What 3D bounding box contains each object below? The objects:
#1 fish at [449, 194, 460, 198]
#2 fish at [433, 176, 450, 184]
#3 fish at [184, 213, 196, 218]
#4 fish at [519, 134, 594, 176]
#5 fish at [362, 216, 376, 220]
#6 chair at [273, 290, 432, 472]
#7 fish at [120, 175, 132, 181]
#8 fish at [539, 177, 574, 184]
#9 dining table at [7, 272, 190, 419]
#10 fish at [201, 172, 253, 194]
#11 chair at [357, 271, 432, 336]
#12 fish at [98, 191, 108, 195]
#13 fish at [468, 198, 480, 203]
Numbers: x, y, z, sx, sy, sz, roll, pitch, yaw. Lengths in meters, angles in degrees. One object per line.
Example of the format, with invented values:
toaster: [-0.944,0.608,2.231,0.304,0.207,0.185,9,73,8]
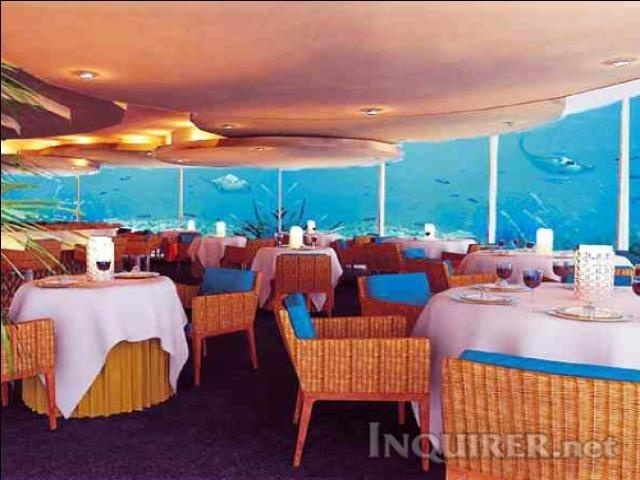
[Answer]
fish: [3.266,-1.058,12.227,0.036,0.077,0.241,-5,7,-44]
fish: [2.909,-1.453,12.447,0.106,0.206,0.531,-2,13,-42]
fish: [-3.998,-0.735,15.371,0.375,0.139,0.091,2,6,20]
fish: [4.921,-1.654,10.476,0.134,0.660,1.445,-3,6,-32]
fish: [1.306,-0.550,13.634,0.341,0.157,0.047,3,7,25]
chair: [0.207,0.815,3.242,1.148,0.996,0.930,0,2,-1]
fish: [-5.938,-1.871,15.314,0.427,0.159,0.121,1,10,5]
fish: [4.937,-1.236,10.476,0.112,0.174,0.604,-2,5,-27]
dining table: [-1.598,0.693,3.775,1.123,0.648,1.091,6,-4,-36]
fish: [-2.722,-1.692,15.002,1.313,0.581,0.090,2,7,15]
chair: [0.651,0.463,4.172,0.421,0.340,0.734,-4,-4,37]
fish: [-6.630,-1.396,15.344,0.222,0.116,0.038,1,6,5]
fish: [3.635,-0.915,11.916,0.084,0.069,0.252,-25,18,-20]
